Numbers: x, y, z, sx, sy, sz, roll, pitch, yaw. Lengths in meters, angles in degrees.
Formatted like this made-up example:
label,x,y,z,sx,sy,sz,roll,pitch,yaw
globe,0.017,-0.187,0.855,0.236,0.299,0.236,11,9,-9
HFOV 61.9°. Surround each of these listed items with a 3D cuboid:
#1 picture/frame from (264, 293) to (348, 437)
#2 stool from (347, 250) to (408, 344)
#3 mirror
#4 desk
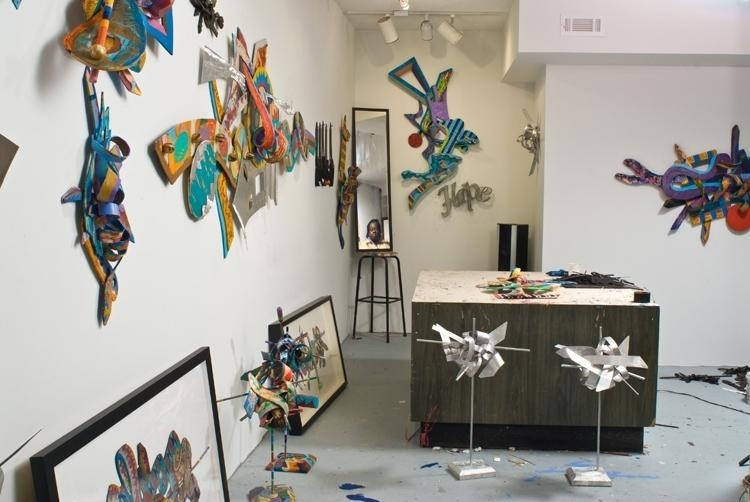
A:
label,x,y,z,sx,sy,sz,roll,pitch,yaw
picture/frame,-0.477,0.781,4.214,0.053,0.600,0.823,-13,8,23
stool,0.049,0.451,6.599,0.590,0.905,0.498,0,10,-1
mirror,-0.050,-0.745,6.559,0.403,1.463,0.362,-1,10,-4
desk,0.996,0.691,4.370,1.126,0.778,1.207,0,-1,6
